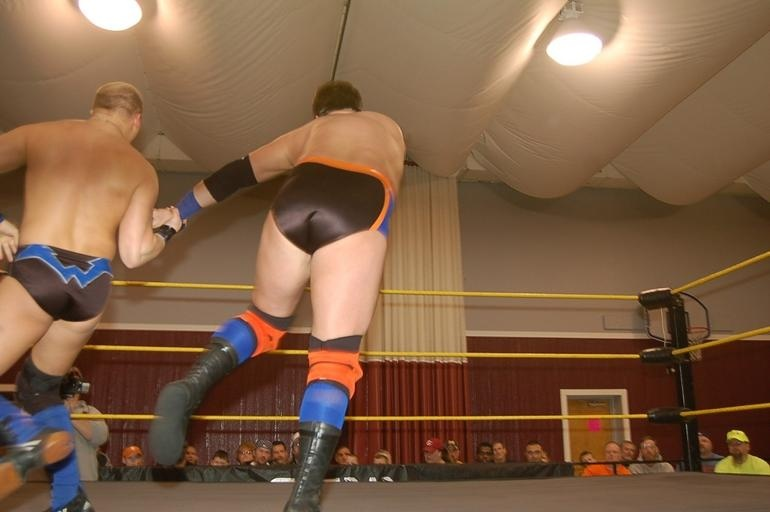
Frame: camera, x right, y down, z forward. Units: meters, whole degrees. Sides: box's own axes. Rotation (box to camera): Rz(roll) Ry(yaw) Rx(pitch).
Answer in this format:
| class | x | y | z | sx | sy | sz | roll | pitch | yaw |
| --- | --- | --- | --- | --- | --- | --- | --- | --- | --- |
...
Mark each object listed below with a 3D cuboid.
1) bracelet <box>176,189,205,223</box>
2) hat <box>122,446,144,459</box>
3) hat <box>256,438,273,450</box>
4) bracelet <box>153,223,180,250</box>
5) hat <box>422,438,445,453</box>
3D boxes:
| class | x | y | z | sx | sy | sz | roll | pitch | yaw |
| --- | --- | --- | --- | --- | --- | --- | --- | --- | --- |
| bracelet | -1.006 | -0.263 | 3.107 | 0.131 | 0.057 | 0.168 | 44 | -72 | -7 |
| hat | -2.708 | 2.086 | 6.416 | 0.202 | 0.100 | 0.281 | 3 | -18 | -30 |
| hat | -1.367 | 2.067 | 6.682 | 0.158 | 0.108 | 0.158 | -4 | -15 | 27 |
| bracelet | -1.113 | -0.119 | 3.060 | 0.096 | 0.136 | 0.049 | 33 | -26 | 30 |
| hat | 0.562 | 2.078 | 6.620 | 0.168 | 0.111 | 0.237 | -6 | -17 | 45 |
